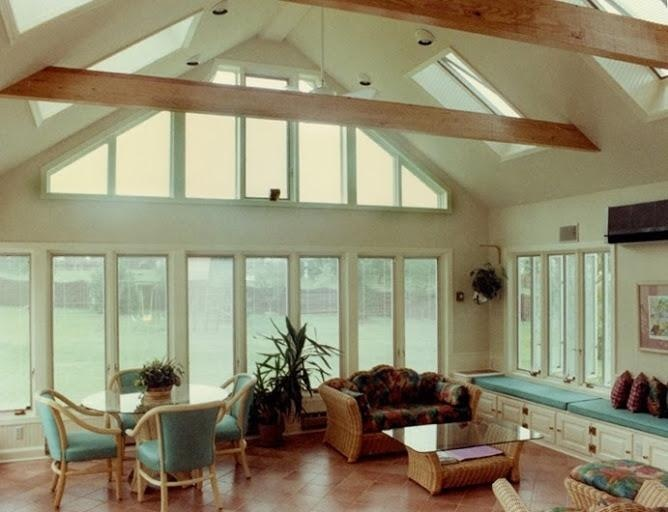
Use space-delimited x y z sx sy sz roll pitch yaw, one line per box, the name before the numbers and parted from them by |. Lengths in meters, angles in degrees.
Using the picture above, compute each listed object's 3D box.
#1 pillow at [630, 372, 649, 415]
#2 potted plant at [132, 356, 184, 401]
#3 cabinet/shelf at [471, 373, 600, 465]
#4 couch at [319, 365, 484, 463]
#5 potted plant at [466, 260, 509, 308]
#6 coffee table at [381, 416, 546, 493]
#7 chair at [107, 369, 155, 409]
pillow | 3.509 1.594 6.688 0.222 0.412 0.143 3 -8 10
potted plant | -1.865 1.319 6.359 0.496 0.304 0.472 0 -3 12
cabinet/shelf | 2.832 2.026 7.618 0.706 0.630 2.172 -4 10 -36
couch | 0.856 1.927 7.432 1.861 0.855 0.888 0 1 -24
potted plant | 2.331 0.439 8.898 0.469 0.662 0.373 -1 4 -21
coffee table | 1.457 2.159 6.306 1.313 0.425 0.812 -5 -3 -7
chair | -2.431 1.518 6.699 0.517 0.572 0.451 0 -15 -4
